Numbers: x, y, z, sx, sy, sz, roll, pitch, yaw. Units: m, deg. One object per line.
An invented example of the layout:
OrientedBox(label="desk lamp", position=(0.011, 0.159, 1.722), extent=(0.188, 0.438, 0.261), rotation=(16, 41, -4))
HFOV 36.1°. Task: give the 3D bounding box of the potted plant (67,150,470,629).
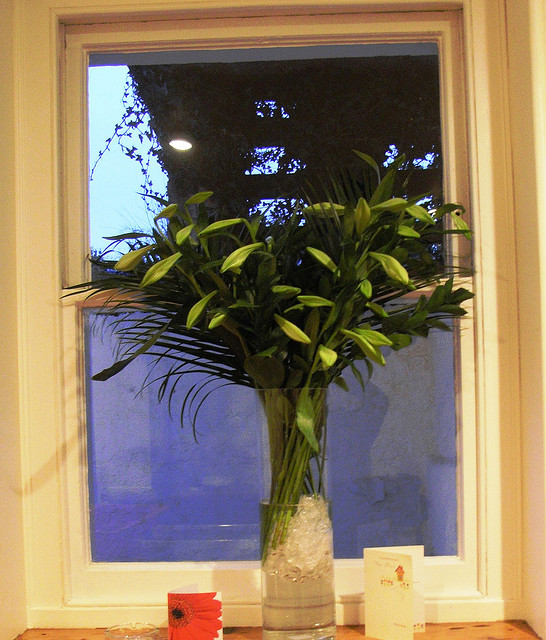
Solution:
OrientedBox(label="potted plant", position=(0.029, 0.193, 1.842), extent=(0.973, 0.980, 0.928), rotation=(-3, 1, 8))
